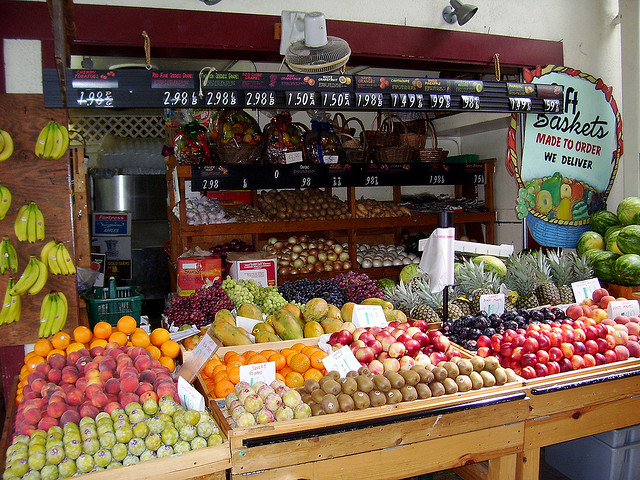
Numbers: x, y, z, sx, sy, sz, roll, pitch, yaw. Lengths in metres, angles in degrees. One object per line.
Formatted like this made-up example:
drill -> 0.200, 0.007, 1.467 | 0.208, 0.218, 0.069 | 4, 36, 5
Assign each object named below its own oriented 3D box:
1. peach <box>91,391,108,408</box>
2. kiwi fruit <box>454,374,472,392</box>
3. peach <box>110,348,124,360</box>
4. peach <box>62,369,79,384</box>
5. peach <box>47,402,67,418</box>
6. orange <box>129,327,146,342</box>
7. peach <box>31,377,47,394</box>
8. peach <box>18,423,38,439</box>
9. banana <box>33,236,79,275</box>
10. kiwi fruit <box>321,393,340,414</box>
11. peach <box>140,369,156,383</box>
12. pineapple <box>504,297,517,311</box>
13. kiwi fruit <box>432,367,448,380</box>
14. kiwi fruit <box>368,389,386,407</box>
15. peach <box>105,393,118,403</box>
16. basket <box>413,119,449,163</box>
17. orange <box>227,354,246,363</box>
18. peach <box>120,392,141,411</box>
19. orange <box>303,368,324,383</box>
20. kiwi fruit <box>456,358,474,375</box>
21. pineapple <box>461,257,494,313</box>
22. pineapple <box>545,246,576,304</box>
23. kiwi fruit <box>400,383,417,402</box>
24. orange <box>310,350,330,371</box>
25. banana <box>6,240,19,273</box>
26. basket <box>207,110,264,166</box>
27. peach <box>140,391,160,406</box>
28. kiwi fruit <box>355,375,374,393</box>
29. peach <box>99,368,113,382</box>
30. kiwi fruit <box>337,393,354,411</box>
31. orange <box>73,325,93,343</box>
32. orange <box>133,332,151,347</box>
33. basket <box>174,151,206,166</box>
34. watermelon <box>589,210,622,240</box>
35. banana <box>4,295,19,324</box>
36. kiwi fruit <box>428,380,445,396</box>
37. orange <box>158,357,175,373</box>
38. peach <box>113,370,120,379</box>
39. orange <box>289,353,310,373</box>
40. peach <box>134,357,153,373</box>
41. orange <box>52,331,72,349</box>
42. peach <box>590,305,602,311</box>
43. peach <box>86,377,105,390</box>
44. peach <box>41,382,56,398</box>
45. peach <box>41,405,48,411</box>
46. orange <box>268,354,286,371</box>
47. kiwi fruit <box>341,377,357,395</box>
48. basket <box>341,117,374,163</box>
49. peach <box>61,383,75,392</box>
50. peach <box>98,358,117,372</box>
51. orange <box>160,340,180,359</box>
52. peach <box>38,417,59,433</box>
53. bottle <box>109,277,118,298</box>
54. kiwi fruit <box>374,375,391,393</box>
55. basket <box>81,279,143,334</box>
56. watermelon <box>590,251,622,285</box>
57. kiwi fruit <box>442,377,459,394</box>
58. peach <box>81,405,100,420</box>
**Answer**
peach -> -1.104, 0.798, 2.532 | 0.068, 0.071, 0.067 | 28, -60, -36
kiwi fruit -> 0.797, 0.785, 2.779 | 0.069, 0.075, 0.095 | -6, 10, -2
peach -> -1.141, 0.634, 2.815 | 0.051, 0.055, 0.049 | 4, 3, 39
peach -> -1.339, 0.729, 2.691 | 0.064, 0.069, 0.067 | 9, 0, 30
peach -> -1.300, 0.832, 2.472 | 0.073, 0.076, 0.071 | -11, -5, 3
orange -> -1.116, 0.567, 3.080 | 0.076, 0.098, 0.081 | 2, 9, 13
peach -> -1.501, 0.764, 2.682 | 0.060, 0.076, 0.062 | -25, -3, 13
peach -> -1.405, 0.908, 2.412 | 0.056, 0.060, 0.070 | 17, 8, 32
banana -> -1.960, 0.132, 3.732 | 0.218, 0.359, 0.152 | -31, -3, -33
kiwi fruit -> 0.057, 0.834, 2.561 | 0.071, 0.095, 0.050 | -7, -8, -13
peach -> -0.922, 0.727, 2.692 | 0.059, 0.073, 0.063 | -17, -36, 19
pineapple -> 1.419, 0.473, 3.706 | 0.080, 0.101, 0.188 | -1, 7, 22
kiwi fruit -> 0.667, 0.731, 2.767 | 0.054, 0.060, 0.072 | -9, 1, -27
kiwi fruit -> 0.300, 0.824, 2.630 | 0.062, 0.066, 0.086 | 1, 7, -1
peach -> -1.060, 0.801, 2.563 | 0.039, 0.047, 0.039 | -21, -24, -41
basket -> 1.310, -1.194, 6.012 | 0.330, 0.503, 0.388 | -3, 12, -15
orange -> -0.480, 0.670, 2.881 | 0.059, 0.031, 0.061 | 5, -5, 14
peach -> -0.953, 0.809, 2.535 | 0.068, 0.077, 0.073 | -6, -11, 31
orange -> -0.038, 0.740, 2.761 | 0.066, 0.069, 0.068 | -32, 31, -27
kiwi fruit -> 0.821, 0.710, 2.830 | 0.062, 0.067, 0.085 | -4, 10, -4
pineapple -> 1.173, 0.340, 3.728 | 0.275, 0.475, 0.248 | 5, -19, -11
pineapple -> 1.943, 0.336, 3.975 | 0.184, 0.425, 0.184 | -12, -2, 12
kiwi fruit -> 0.479, 0.813, 2.689 | 0.086, 0.085, 0.062 | -2, 6, 13
orange -> 0.004, 0.671, 2.829 | 0.079, 0.093, 0.088 | -8, -24, 32
banana -> -2.233, 0.124, 3.674 | 0.061, 0.238, 0.082 | -8, -6, 7
basket -> -0.849, -1.019, 5.086 | 0.577, 0.539, 0.372 | -5, 6, -9
peach -> -0.864, 0.805, 2.555 | 0.062, 0.067, 0.064 | -18, -43, 41
kiwi fruit -> 0.238, 0.750, 2.642 | 0.054, 0.055, 0.100 | -4, 19, -26
peach -> -1.137, 0.714, 2.668 | 0.050, 0.054, 0.049 | -7, 1, 9
kiwi fruit -> 0.135, 0.828, 2.622 | 0.081, 0.061, 0.063 | 35, -14, 49
orange -> -1.448, 0.587, 3.092 | 0.096, 0.096, 0.097 | 24, 13, -48
orange -> -1.072, 0.589, 3.004 | 0.075, 0.042, 0.078 | 6, -2, 25
basket -> -1.303, -0.824, 5.039 | 0.325, 0.149, 0.179 | -3, 6, 5
watermelon -> 2.746, -0.160, 4.863 | 0.259, 0.214, 0.206 | 3, 6, -1
banana -> -2.267, 0.497, 3.675 | 0.043, 0.214, 0.068 | 18, -3, -18
kiwi fruit -> 0.641, 0.800, 2.753 | 0.059, 0.061, 0.080 | 3, 20, -19
orange -> -0.900, 0.726, 2.939 | 0.081, 0.103, 0.082 | -6, -10, -16
peach -> -1.108, 0.729, 2.725 | 0.030, 0.038, 0.030 | -10, -14, 29
orange -> -0.112, 0.688, 2.815 | 0.092, 0.099, 0.092 | 2, -30, -5
peach -> -0.960, 0.678, 2.726 | 0.067, 0.086, 0.067 | 12, -17, -31
orange -> -1.549, 0.596, 3.034 | 0.091, 0.099, 0.092 | -10, -35, -8
peach -> 1.985, 0.479, 3.603 | 0.041, 0.042, 0.048 | 36, -16, -1
peach -> -1.163, 0.731, 2.613 | 0.067, 0.060, 0.059 | 3, 8, -14
peach -> -1.417, 0.780, 2.635 | 0.057, 0.060, 0.069 | -16, -9, -8
peach -> -1.390, 0.842, 2.531 | 0.023, 0.014, 0.020 | -23, -6, -22
orange -> -0.239, 0.687, 2.871 | 0.083, 0.090, 0.091 | 9, 30, 17
kiwi fruit -> 0.154, 0.756, 2.614 | 0.059, 0.062, 0.080 | -1, 10, -14
basket -> 0.443, -1.181, 5.866 | 0.378, 0.568, 0.575 | -3, 6, 5
peach -> -1.330, 0.770, 2.646 | 0.038, 0.040, 0.040 | -21, -38, 0
peach -> -1.153, 0.669, 2.725 | 0.067, 0.067, 0.069 | -23, 16, -25
orange -> -0.916, 0.669, 3.069 | 0.119, 0.113, 0.078 | -7, 7, -27
peach -> -1.319, 0.881, 2.425 | 0.063, 0.063, 0.065 | -21, 31, 20
bottle -> -1.596, 0.363, 3.855 | 0.044, 0.170, 0.131 | -6, 6, -25
kiwi fruit -> 0.338, 0.751, 2.656 | 0.051, 0.052, 0.097 | -3, 22, -14
basket -> -1.651, 0.502, 4.149 | 0.454, 0.523, 0.682 | -1, 6, -16
watermelon -> 2.446, 0.239, 4.314 | 0.322, 0.267, 0.255 | -1, -6, 9
kiwi fruit -> 0.719, 0.797, 2.754 | 0.061, 0.064, 0.081 | -26, 31, -29
peach -> -1.139, 0.835, 2.487 | 0.058, 0.069, 0.057 | 13, 18, 13
